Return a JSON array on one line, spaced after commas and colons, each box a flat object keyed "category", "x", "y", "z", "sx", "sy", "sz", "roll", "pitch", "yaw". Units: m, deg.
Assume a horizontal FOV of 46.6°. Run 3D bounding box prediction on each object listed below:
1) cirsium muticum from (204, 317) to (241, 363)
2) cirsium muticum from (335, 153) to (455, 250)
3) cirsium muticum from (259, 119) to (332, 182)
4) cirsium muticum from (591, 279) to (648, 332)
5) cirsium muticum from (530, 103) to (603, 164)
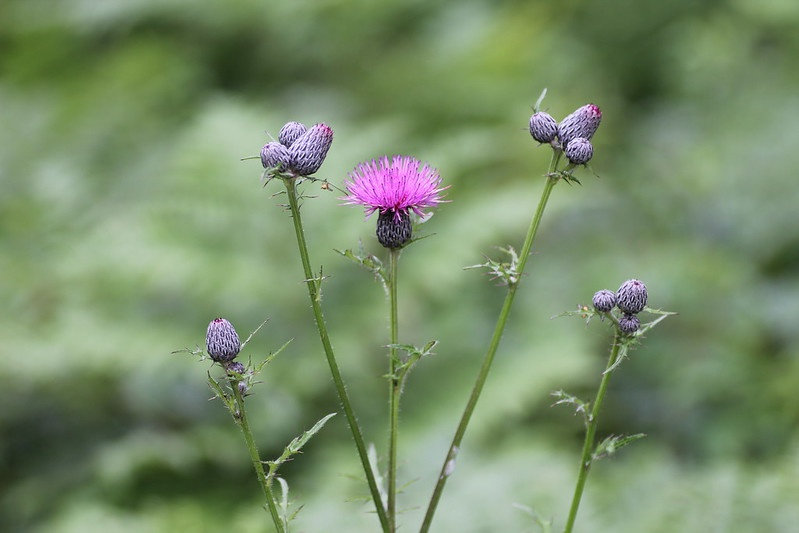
[{"category": "cirsium muticum", "x": -1.017, "y": 0.460, "z": 5.588, "sx": 0.174, "sy": 0.180, "sz": 0.268, "roll": -17, "pitch": 86, "yaw": -2}, {"category": "cirsium muticum", "x": -0.019, "y": -0.335, "z": 5.696, "sx": 0.485, "sy": 0.425, "sz": 0.529, "roll": 8, "pitch": 80, "yaw": -19}, {"category": "cirsium muticum", "x": -0.613, "y": -0.685, "z": 5.559, "sx": 0.425, "sy": 0.266, "sz": 0.297, "roll": -7, "pitch": 41, "yaw": -5}, {"category": "cirsium muticum", "x": 1.332, "y": 0.192, "z": 5.597, "sx": 0.250, "sy": 0.337, "sz": 0.211, "roll": -3, "pitch": 36, "yaw": 5}, {"category": "cirsium muticum", "x": 1.009, "y": -0.783, "z": 5.700, "sx": 0.366, "sy": 0.175, "sz": 0.380, "roll": 29, "pitch": 76, "yaw": 6}]
